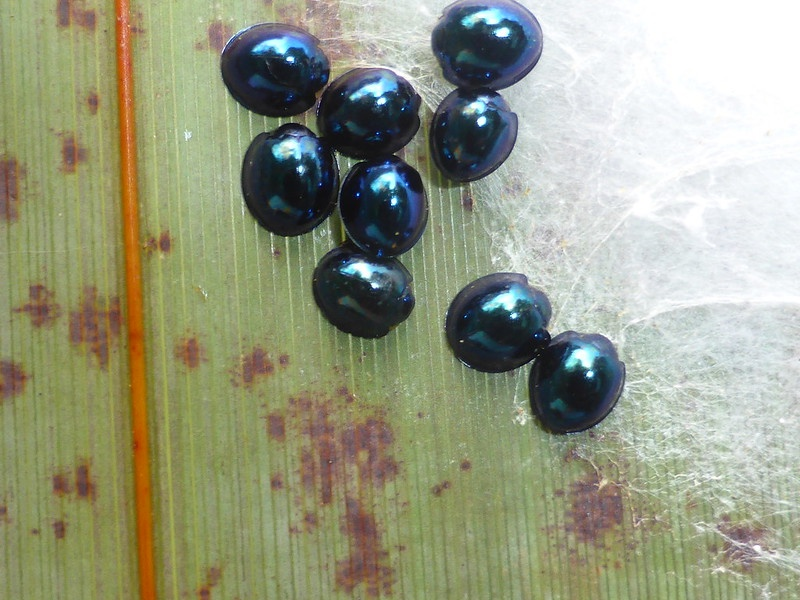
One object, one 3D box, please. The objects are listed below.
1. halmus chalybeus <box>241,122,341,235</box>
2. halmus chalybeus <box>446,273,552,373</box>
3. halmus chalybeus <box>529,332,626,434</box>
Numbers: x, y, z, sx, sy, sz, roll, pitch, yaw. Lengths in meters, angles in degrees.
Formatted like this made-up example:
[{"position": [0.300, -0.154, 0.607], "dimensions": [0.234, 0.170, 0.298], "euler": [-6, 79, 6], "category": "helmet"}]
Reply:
[{"position": [-0.551, -0.611, 5.836], "dimensions": [0.597, 0.640, 0.178], "euler": [-16, 57, -7], "category": "halmus chalybeus"}, {"position": [0.493, 0.137, 6.046], "dimensions": [0.526, 0.518, 0.282], "euler": [21, 19, 0], "category": "halmus chalybeus"}, {"position": [0.880, 0.444, 6.057], "dimensions": [0.465, 0.539, 0.277], "euler": [23, 19, 7], "category": "halmus chalybeus"}]
